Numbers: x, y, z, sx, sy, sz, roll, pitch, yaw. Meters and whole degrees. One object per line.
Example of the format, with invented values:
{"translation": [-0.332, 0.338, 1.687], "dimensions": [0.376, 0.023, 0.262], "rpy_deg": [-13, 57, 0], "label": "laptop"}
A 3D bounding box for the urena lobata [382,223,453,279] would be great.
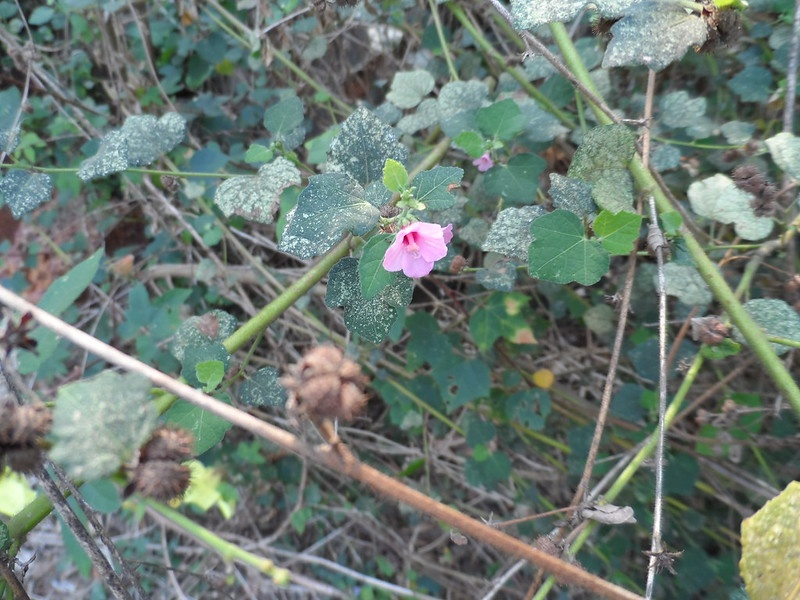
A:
{"translation": [0.050, -0.154, 1.978], "dimensions": [0.171, 0.165, 0.071], "rpy_deg": [-13, 41, -9], "label": "urena lobata"}
